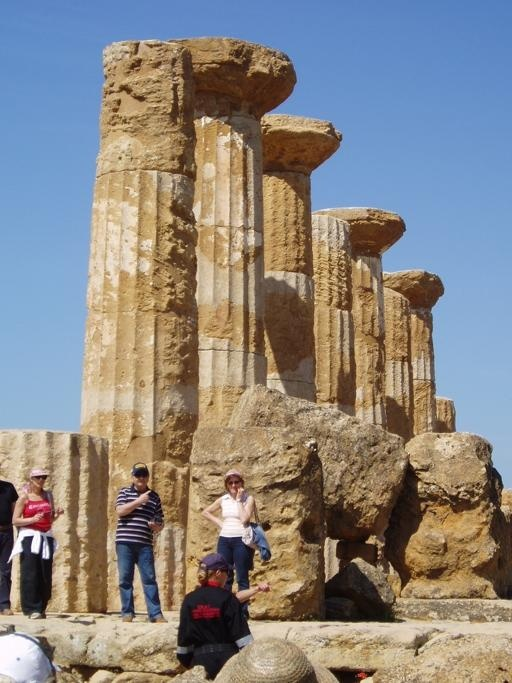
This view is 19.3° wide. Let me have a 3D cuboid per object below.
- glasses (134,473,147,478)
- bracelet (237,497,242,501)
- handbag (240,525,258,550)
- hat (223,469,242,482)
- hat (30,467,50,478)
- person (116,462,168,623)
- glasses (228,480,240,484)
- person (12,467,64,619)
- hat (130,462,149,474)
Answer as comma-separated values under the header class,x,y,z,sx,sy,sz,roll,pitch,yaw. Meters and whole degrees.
class,x,y,z,sx,sy,sz,roll,pitch,yaw
glasses,-0.861,1.008,11.238,0.099,0.030,0.064,2,-10,-12
bracelet,-0.123,1.169,11.052,0.034,0.034,0.023,2,-11,-13
handbag,-0.059,1.441,11.044,0.071,0.152,0.162,-5,-14,20
hat,-0.173,1.000,11.181,0.108,0.050,0.138,-1,-13,0
hat,-1.632,0.990,11.327,0.137,0.038,0.111,-8,-10,36
person,-0.872,1.504,11.253,0.354,1.172,0.565,0,-11,-5
glasses,-0.164,1.046,11.038,0.079,0.034,0.026,-3,-11,11
person,-1.577,1.482,11.007,0.349,1.085,0.357,7,-13,-35
hat,-0.868,0.969,11.299,0.104,0.078,0.151,2,-18,-13
